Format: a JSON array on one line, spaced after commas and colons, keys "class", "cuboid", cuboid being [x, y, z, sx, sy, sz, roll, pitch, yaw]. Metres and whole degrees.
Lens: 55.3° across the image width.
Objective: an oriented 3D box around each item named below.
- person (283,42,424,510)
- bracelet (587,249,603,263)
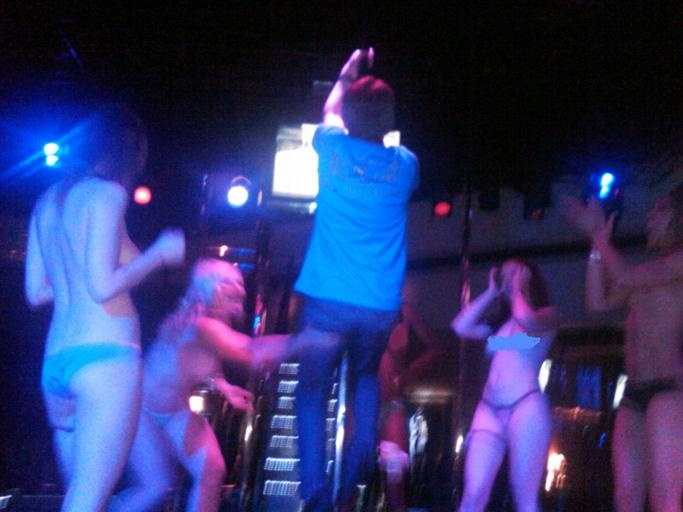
[{"class": "person", "cuboid": [0.064, 0.335, 4.124, 0.660, 2.423, 0.397, 13, -19, -30]}, {"class": "bracelet", "cuboid": [1.810, -0.005, 4.708, 0.026, 0.061, 0.079, 15, 4, -38]}]
